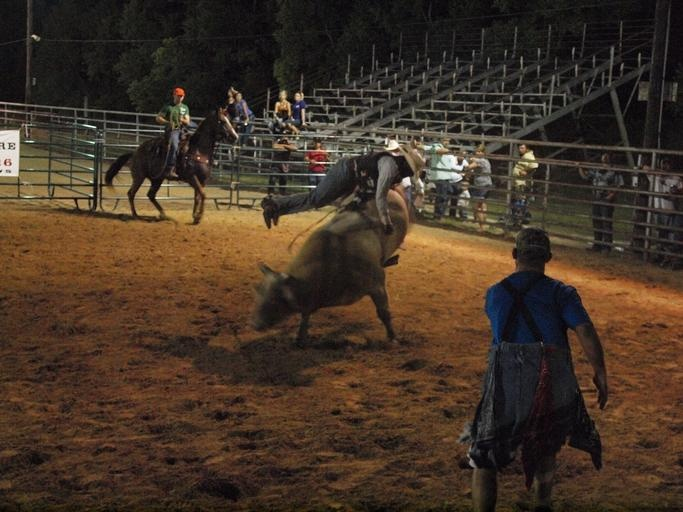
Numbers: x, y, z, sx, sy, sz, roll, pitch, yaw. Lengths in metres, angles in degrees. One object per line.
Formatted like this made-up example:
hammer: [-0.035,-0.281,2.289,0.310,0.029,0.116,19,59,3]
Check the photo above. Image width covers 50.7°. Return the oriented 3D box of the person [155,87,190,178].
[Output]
person: [-3.630,-2.651,15.350,0.652,1.897,0.821,5,7,-8]

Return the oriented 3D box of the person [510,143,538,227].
person: [3.966,-1.605,15.860,0.511,1.876,1.580,8,7,13]

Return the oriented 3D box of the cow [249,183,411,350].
cow: [-0.069,0.125,8.162,0.873,1.845,2.354,9,8,28]

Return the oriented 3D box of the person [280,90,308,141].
person: [-1.329,-3.949,19.604,0.589,1.165,1.243,5,6,0]

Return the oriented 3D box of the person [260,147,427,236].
person: [0.117,-0.863,9.370,2.361,0.929,0.735,-10,9,22]

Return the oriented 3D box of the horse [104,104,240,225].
horse: [-3.761,-1.941,15.852,4.196,2.238,0.994,5,5,35]

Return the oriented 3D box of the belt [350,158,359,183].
belt: [0.170,-1.111,9.077,0.123,0.279,0.058,12,10,43]
